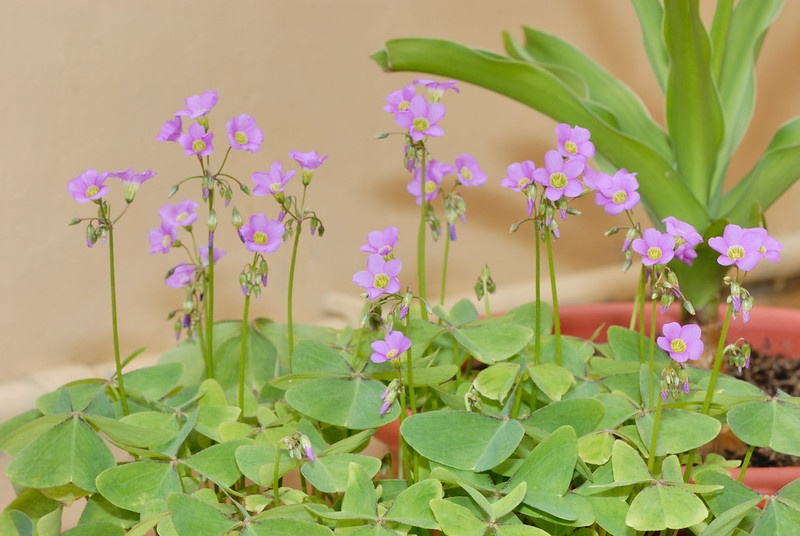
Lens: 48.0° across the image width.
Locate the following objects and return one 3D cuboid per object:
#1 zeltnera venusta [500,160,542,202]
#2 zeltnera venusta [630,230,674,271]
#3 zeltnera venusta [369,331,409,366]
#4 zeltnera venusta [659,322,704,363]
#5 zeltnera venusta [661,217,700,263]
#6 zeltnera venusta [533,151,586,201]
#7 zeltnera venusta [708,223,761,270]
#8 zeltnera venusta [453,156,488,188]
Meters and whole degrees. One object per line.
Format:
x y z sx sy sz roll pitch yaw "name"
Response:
0.175 -0.131 1.350 0.044 0.034 0.054 22 -55 -2 "zeltnera venusta"
0.360 -0.027 1.290 0.049 0.057 0.027 -35 -14 0 "zeltnera venusta"
-0.017 0.125 1.340 0.057 0.042 0.121 -5 -16 -3 "zeltnera venusta"
0.399 0.108 1.299 0.072 0.058 0.055 -6 -14 2 "zeltnera venusta"
0.415 -0.028 1.335 0.054 0.023 0.050 -4 -17 -45 "zeltnera venusta"
0.225 -0.131 1.322 0.049 0.020 0.061 6 -31 -5 "zeltnera venusta"
0.481 -0.026 1.309 0.058 0.070 0.032 3 -33 9 "zeltnera venusta"
0.105 -0.167 1.511 0.047 0.026 0.051 11 -21 -33 "zeltnera venusta"
